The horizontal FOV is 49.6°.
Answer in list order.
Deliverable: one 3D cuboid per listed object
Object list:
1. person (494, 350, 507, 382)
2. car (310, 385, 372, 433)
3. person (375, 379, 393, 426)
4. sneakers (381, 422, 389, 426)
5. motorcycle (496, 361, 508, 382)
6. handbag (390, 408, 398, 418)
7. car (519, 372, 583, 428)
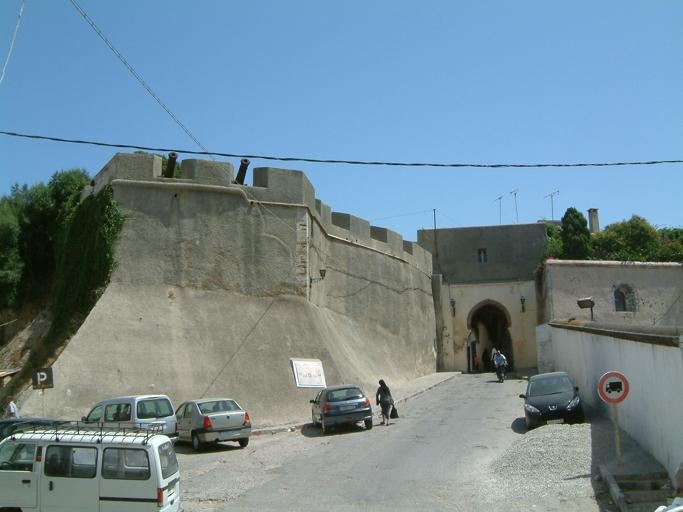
[{"bbox_3d":[7.367,5.105,35.116,0.786,1.180,1.731,-2,-2,9],"label":"person"},{"bbox_3d":[-0.149,5.076,24.974,1.109,0.960,1.984,-2,-2,-14],"label":"car"},{"bbox_3d":[1.455,4.936,25.666,0.624,1.747,0.425,-1,19,18],"label":"person"},{"bbox_3d":[1.448,5.644,25.084,0.250,0.118,0.487,0,-4,1],"label":"sneakers"},{"bbox_3d":[7.557,5.377,34.702,0.478,0.749,1.097,-2,-5,6],"label":"motorcycle"},{"bbox_3d":[1.815,5.427,25.654,0.283,0.349,0.307,-1,5,30],"label":"handbag"},{"bbox_3d":[6.368,4.405,22.523,1.626,1.440,1.982,-1,-3,14],"label":"car"}]
